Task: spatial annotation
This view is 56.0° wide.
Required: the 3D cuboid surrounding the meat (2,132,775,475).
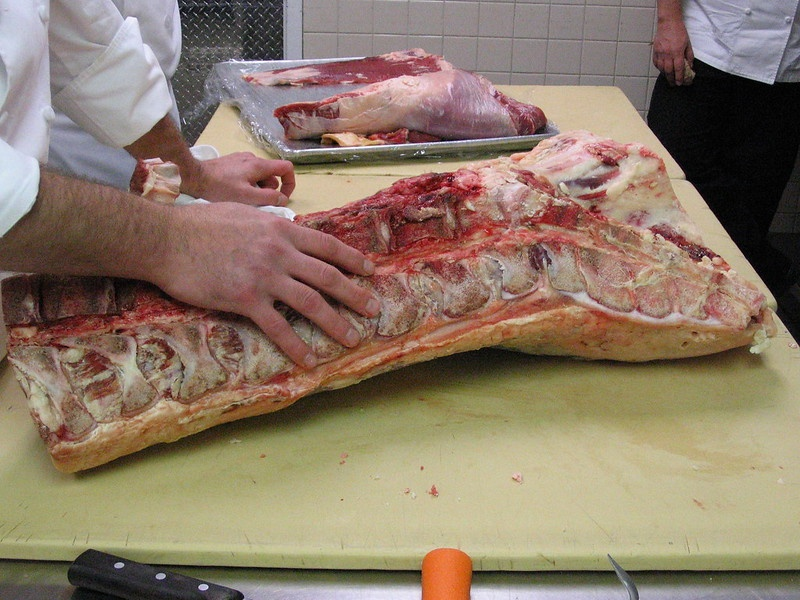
[{"bbox_3d":[-0.012,0.018,1.776,1.447,0.397,0.721,-9,46,-12],"label":"meat"}]
